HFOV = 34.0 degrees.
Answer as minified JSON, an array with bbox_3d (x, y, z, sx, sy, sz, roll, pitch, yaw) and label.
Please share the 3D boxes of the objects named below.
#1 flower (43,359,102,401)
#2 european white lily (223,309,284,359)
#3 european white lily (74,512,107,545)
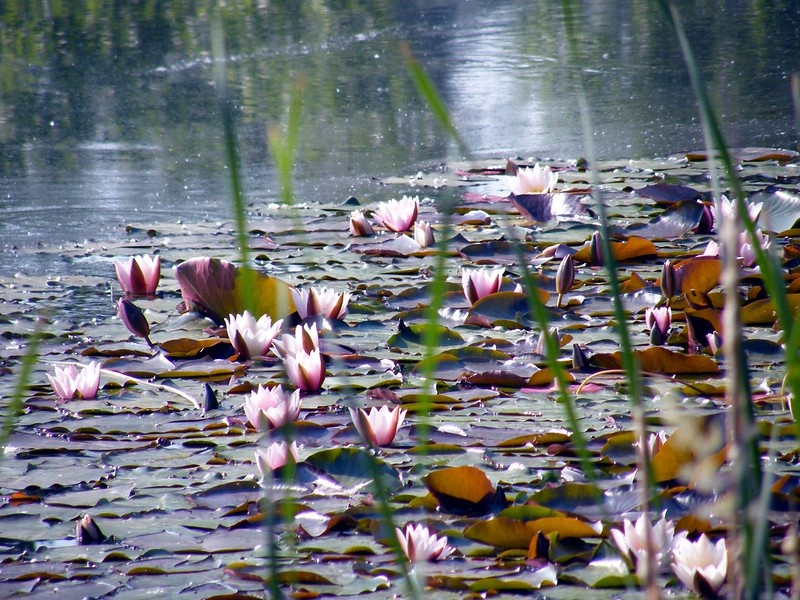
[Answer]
[{"bbox_3d":[-0.864,0.209,3.441,0.150,0.065,0.123,-2,2,-9],"label":"flower"},{"bbox_3d":[-0.411,0.094,3.676,0.197,0.095,0.169,11,2,0],"label":"european white lily"},{"bbox_3d":[-0.690,0.517,2.961,0.071,0.065,0.071,-29,-4,-22],"label":"european white lily"}]
